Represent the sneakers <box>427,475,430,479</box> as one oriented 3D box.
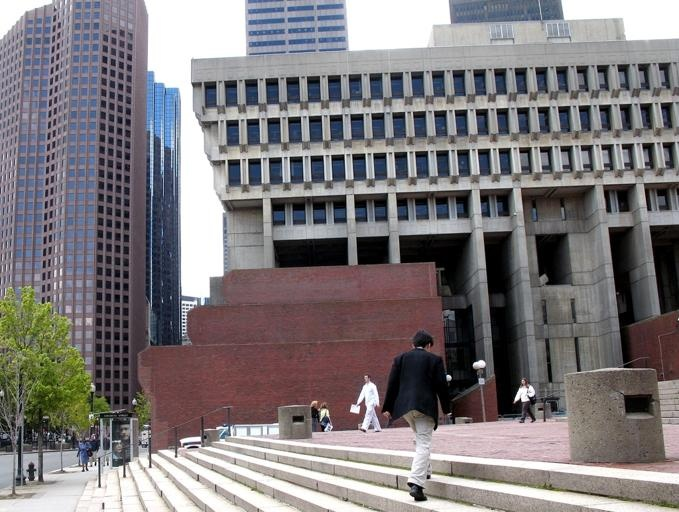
[{"bbox_3d":[2.389,5.922,21.900,0.080,0.108,0.151,1,-17,0],"label":"sneakers"}]
